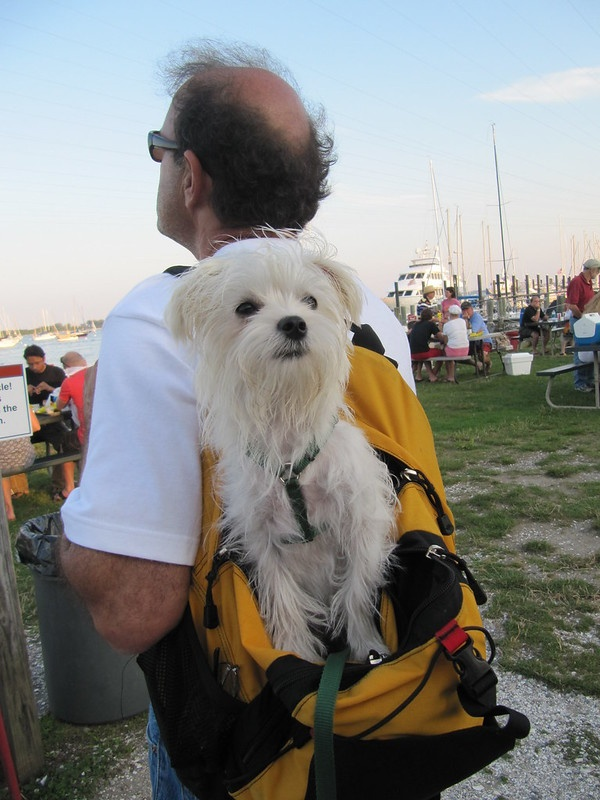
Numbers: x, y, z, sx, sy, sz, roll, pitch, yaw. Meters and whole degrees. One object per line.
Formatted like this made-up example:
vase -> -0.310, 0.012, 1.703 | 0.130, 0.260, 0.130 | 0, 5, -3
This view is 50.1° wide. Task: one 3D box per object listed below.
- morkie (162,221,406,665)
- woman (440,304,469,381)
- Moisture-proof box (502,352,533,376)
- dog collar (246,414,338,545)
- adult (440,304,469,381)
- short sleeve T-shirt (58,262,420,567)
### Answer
morkie -> -0.010, 0.169, 1.584 | 0.422, 0.842, 1.057 | -8, -13, 2
woman -> 3.471, -1.243, 14.289 | 0.522, 1.700, 1.065 | -7, 8, 12
Moisture-proof box -> 4.751, -0.760, 13.987 | 0.570, 0.501, 0.641 | -6, 8, 14
dog collar -> -0.003, 0.169, 1.322 | 0.124, 0.198, 0.218 | -12, 33, 8
adult -> 3.469, -1.240, 14.278 | 0.522, 1.699, 1.043 | -7, 8, 12
short sleeve T-shirt -> -0.114, 0.019, 1.378 | 0.339, 0.674, 0.936 | 4, 13, 39
